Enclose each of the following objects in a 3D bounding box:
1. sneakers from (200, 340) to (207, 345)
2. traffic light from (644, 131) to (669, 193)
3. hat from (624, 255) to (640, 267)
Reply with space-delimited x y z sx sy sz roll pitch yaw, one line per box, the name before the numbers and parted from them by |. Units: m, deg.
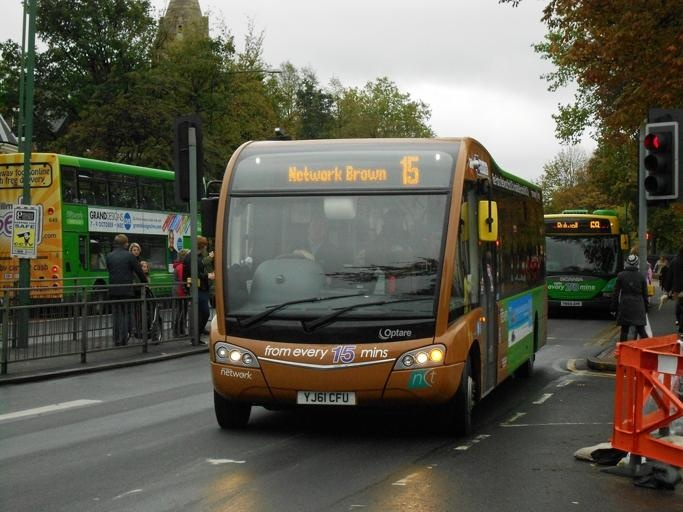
sneakers | -3.381 2.113 15.946 0.103 0.141 0.334 0 -6 -3
traffic light | 4.913 -1.444 10.079 0.372 1.005 0.329 -1 -1 29
hat | 5.854 0.092 13.100 0.208 0.263 0.269 -13 -44 26
